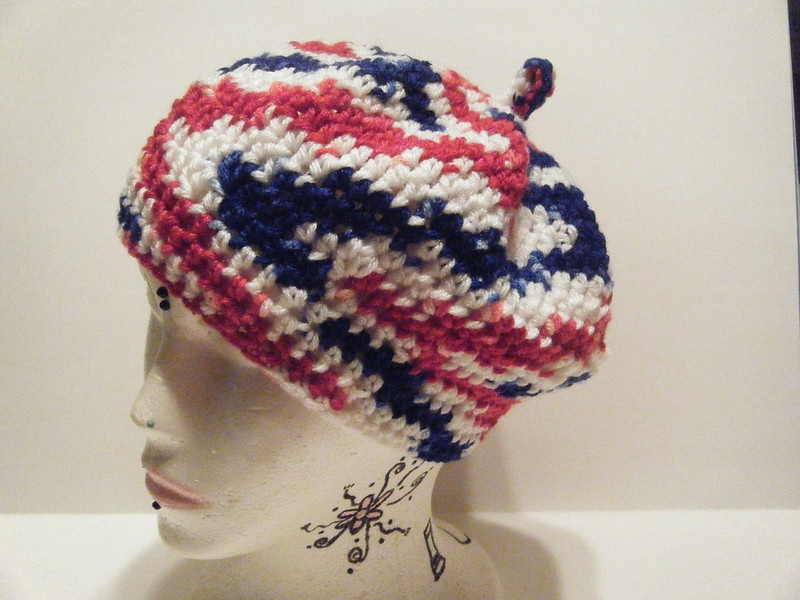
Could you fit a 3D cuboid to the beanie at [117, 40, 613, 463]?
[{"bbox_3d":[-0.084,-0.106,2.692,0.911,0.704,0.696,15,19,-28],"label":"beanie"}]
